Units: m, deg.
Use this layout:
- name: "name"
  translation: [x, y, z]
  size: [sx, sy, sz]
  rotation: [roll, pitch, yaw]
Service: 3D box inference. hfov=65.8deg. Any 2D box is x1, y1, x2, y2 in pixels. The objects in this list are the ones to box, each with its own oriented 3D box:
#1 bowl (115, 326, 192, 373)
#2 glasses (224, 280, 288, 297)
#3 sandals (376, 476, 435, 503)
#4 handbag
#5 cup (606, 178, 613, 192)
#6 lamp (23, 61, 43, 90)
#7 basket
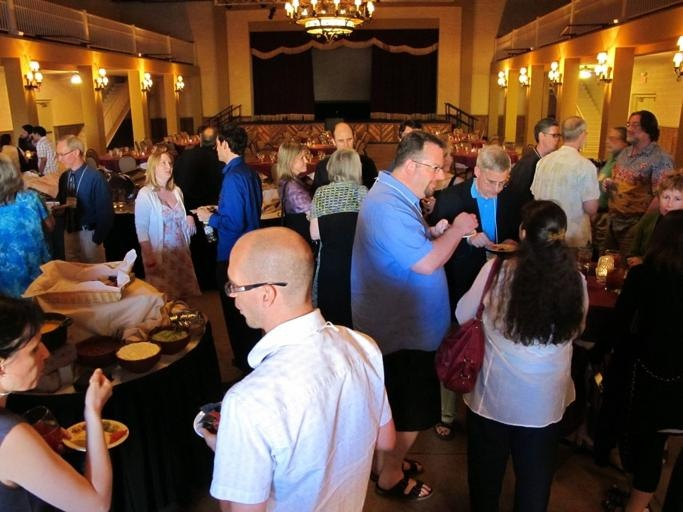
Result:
- name: "bowl"
  translation: [-0.966, 0.462, 2.700]
  size: [0.151, 0.077, 0.272]
  rotation: [9, 15, 22]
- name: "glasses"
  translation: [-0.300, 0.098, 1.726]
  size: [0.105, 0.032, 0.093]
  rotation: [-7, 1, 8]
- name: "sandals"
  translation: [0.357, 1.319, 2.974]
  size: [0.269, 0.098, 0.135]
  rotation: [-1, 19, 1]
- name: "handbag"
  translation: [0.562, 0.455, 2.519]
  size: [0.174, 0.353, 0.269]
  rotation: [7, 14, -18]
- name: "cup"
  translation: [2.651, -0.717, 5.233]
  size: [0.040, 0.118, 0.083]
  rotation: [1, 7, 35]
- name: "lamp"
  translation: [-6.237, -3.657, 10.627]
  size: [0.283, 0.547, 0.585]
  rotation: [-7, 17, -24]
- name: "basket"
  translation: [-1.423, 0.155, 2.841]
  size: [0.303, 0.112, 0.319]
  rotation: [1, 20, -7]
